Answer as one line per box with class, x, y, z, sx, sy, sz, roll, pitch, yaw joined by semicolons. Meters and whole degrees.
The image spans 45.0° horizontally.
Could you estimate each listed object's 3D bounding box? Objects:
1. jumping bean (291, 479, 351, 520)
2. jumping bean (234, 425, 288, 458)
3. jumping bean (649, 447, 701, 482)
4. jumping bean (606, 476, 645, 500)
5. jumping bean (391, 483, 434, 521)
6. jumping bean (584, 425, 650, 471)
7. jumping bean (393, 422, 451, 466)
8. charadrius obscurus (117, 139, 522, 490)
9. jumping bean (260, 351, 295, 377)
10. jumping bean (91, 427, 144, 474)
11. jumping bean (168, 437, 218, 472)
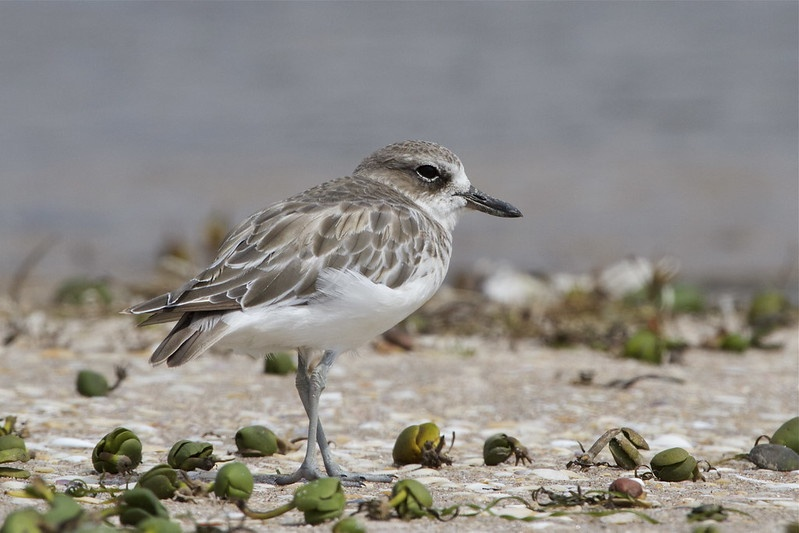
jumping bean;-0.421;1.238;5.073;0.264;0.221;0.133;1;10;-3
jumping bean;-0.879;1.121;6.199;0.275;0.128;0.202;10;14;40
jumping bean;1.653;1.203;5.838;0.321;0.171;0.257;-3;-8;-8
jumping bean;1.246;1.209;5.265;0.166;0.065;0.117;1;0;12
jumping bean;0.056;1.239;5.104;0.201;0.100;0.241;-2;-8;33
jumping bean;1.349;1.126;6.022;0.379;0.266;0.246;3;10;9
jumping bean;0.148;1.119;6.074;0.391;0.164;0.245;1;36;11
charadrius obscurus;0.532;0.043;5.744;3.569;2.065;1.484;-1;1;-19
jumping bean;-1.012;0.803;8.027;0.349;0.172;0.367;-2;6;-5
jumping bean;-1.669;1.106;5.900;0.269;0.207;0.309;-36;-3;6
jumping bean;-1.217;1.145;5.804;0.286;0.111;0.187;-3;-12;7
